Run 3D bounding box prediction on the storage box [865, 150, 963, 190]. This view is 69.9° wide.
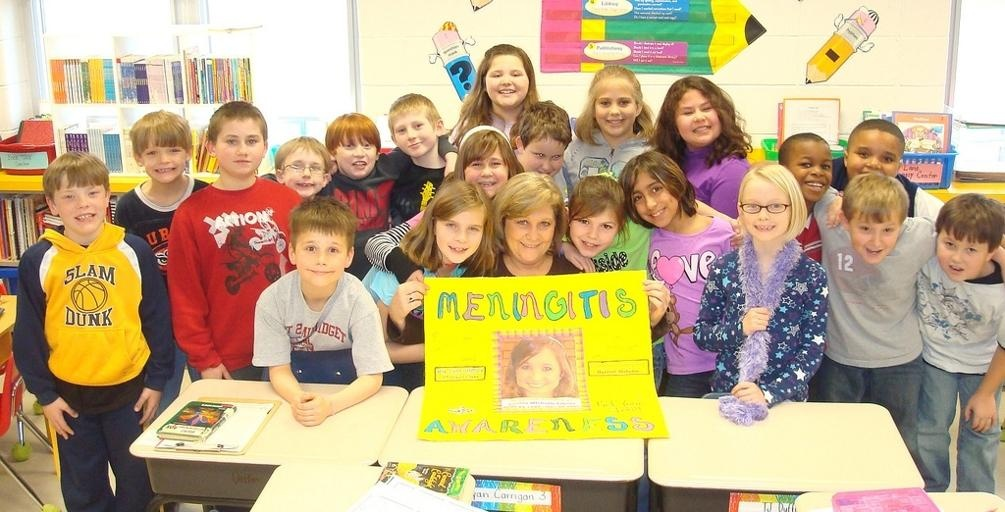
[{"bbox_3d":[3.723,-0.725,6.264,0.666,0.248,0.490,-4,13,-33],"label":"storage box"}]

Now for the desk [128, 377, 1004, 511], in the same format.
[{"bbox_3d":[-0.221,1.016,3.878,3.373,0.565,0.467,-1,13,4],"label":"desk"}]

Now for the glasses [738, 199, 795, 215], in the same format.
[{"bbox_3d":[1.448,-0.267,3.992,0.267,0.059,0.045,1,14,14],"label":"glasses"}]
